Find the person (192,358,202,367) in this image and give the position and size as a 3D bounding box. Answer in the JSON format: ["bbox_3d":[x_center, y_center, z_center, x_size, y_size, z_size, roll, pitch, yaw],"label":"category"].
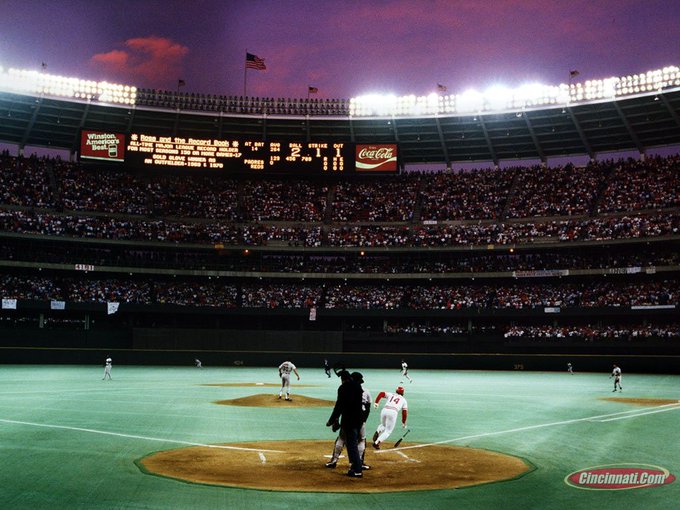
[{"bbox_3d":[-16.146,12.189,62.821,1.031,0.843,0.755,4,-11,-28],"label":"person"}]

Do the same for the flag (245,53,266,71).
[{"bbox_3d":[-10.756,-24.608,69.879,2.096,2.572,1.953,2,-10,-16],"label":"flag"}]

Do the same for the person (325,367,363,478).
[{"bbox_3d":[0.184,4.837,15.952,0.953,2.954,1.406,-1,-10,1],"label":"person"}]

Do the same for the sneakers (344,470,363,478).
[{"bbox_3d":[0.408,6.227,15.665,0.337,0.116,0.217,0,-2,7],"label":"sneakers"}]
